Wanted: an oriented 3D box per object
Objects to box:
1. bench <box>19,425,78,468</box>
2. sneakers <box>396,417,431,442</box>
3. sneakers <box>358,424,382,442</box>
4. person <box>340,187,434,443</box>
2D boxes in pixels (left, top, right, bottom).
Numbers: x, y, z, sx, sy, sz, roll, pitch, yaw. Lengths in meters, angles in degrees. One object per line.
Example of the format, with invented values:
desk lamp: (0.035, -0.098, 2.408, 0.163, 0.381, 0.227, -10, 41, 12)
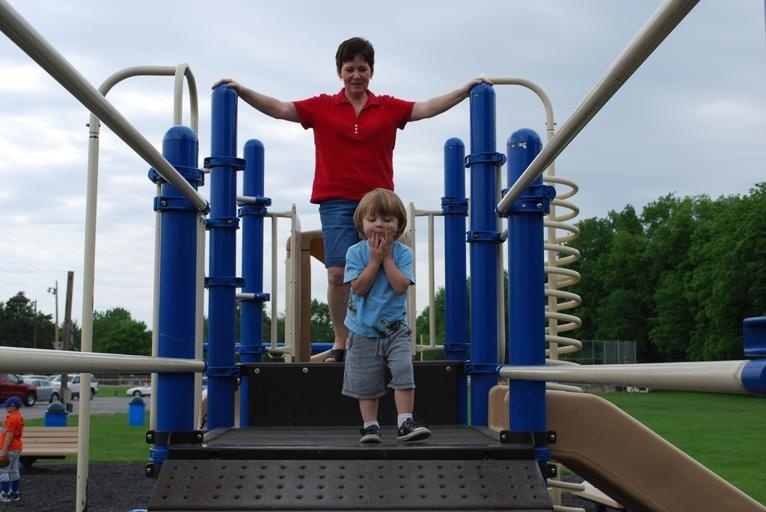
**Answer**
bench: (-5.924, 3.292, 14.543, 1.163, 0.463, 0.763, -4, -8, 21)
sneakers: (0.211, 1.345, 6.298, 0.120, 0.152, 0.319, 6, -19, -39)
sneakers: (-0.110, 1.354, 6.256, 0.148, 0.134, 0.254, -1, -7, -3)
person: (-0.024, 0.438, 6.508, 0.623, 1.993, 0.481, -1, -7, -1)
